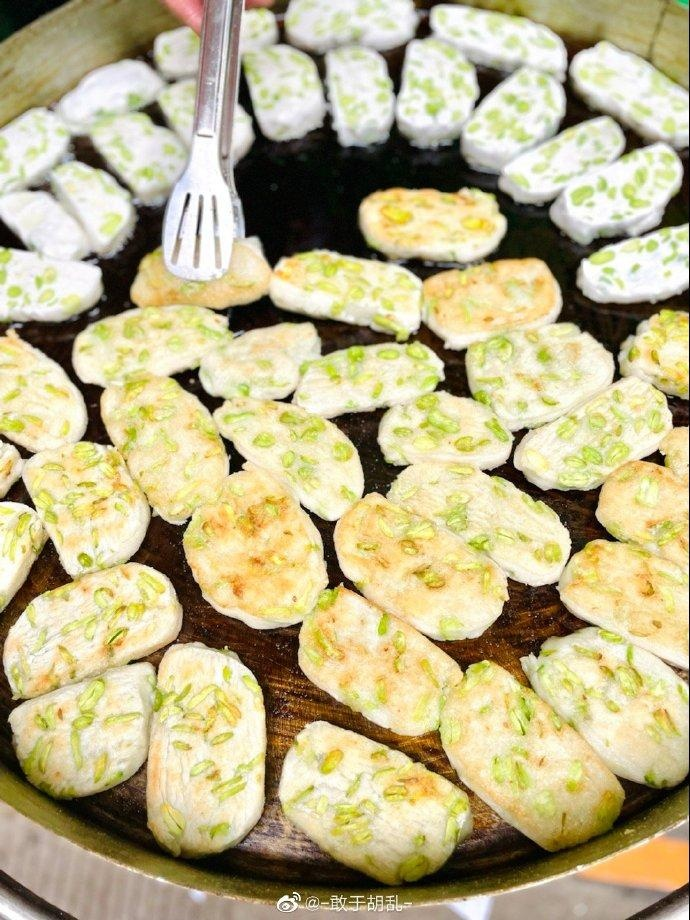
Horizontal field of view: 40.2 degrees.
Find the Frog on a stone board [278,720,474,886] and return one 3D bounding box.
[{"bbox_3d":[0.050,0.750,2.061,0.406,0.161,0.245,21,48,24],"label":"Frog on a stone board"}]

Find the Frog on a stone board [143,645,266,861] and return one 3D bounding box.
[{"bbox_3d":[-0.306,0.635,2.032,0.267,0.102,0.388,2,71,0],"label":"Frog on a stone board"}]

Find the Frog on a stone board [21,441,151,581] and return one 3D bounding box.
[{"bbox_3d":[-0.631,0.114,2.322,0.292,0.107,0.331,-24,71,-13],"label":"Frog on a stone board"}]

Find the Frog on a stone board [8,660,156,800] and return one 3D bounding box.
[{"bbox_3d":[-0.586,0.632,2.163,0.423,0.081,0.268,-22,51,18],"label":"Frog on a stone board"}]
